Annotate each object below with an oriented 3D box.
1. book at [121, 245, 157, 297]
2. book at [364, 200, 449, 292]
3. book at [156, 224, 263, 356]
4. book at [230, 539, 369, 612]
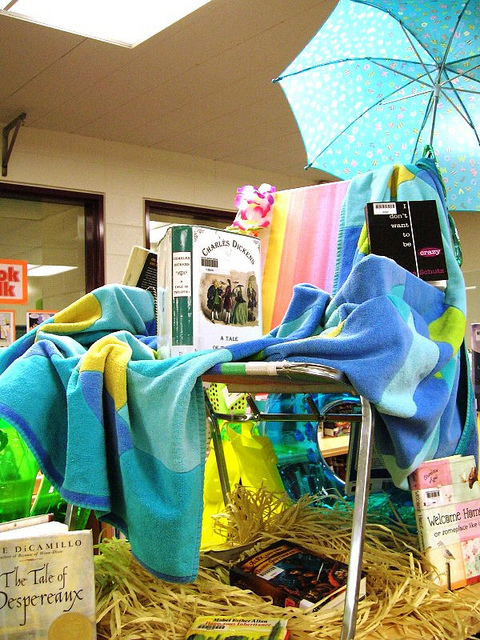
[{"bbox_3d":[-0.221,-0.108,1.024,0.066,0.102,0.103,1,0,-36],"label":"book"},{"bbox_3d":[0.221,-0.099,0.643,0.114,0.102,0.026,-4,-12,-13],"label":"book"},{"bbox_3d":[-0.048,-0.034,0.729,0.153,0.183,0.115,1,-5,-30],"label":"book"},{"bbox_3d":[0.075,0.346,0.642,0.110,0.038,0.148,-2,-2,-41],"label":"book"}]
